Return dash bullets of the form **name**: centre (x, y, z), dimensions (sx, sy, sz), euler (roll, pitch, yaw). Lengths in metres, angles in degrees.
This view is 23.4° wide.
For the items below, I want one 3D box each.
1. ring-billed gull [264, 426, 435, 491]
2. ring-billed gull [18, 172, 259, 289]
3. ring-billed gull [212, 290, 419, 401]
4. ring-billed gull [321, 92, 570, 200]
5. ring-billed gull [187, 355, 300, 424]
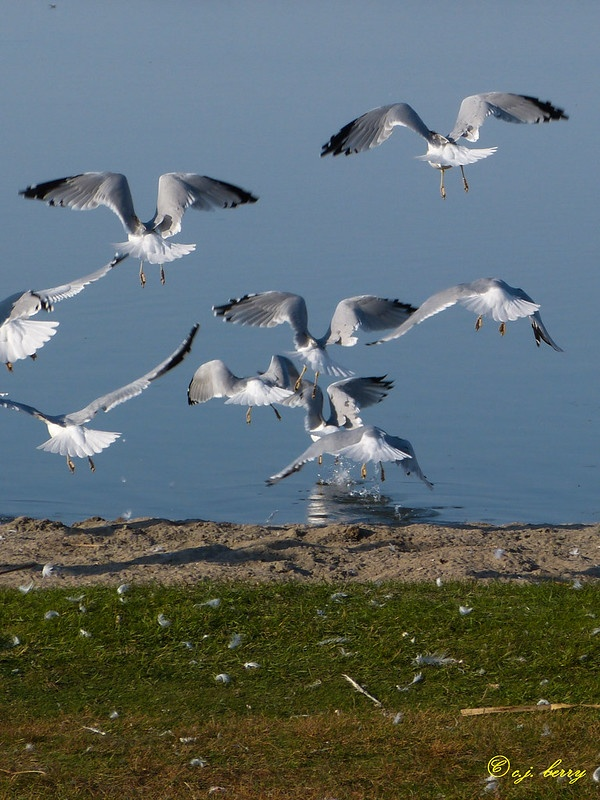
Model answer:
- **ring-billed gull**: centre (0.452, 0.451, 12.415), dimensions (1.126, 0.387, 0.876), euler (-1, 6, -3)
- **ring-billed gull**: centre (-1.554, -1.818, 15.382), dimensions (2.449, 1.107, 1.376), euler (-3, 9, -18)
- **ring-billed gull**: centre (0.197, -0.681, 16.079), dimensions (2.250, 0.891, 1.193), euler (2, 11, -11)
- **ring-billed gull**: centre (1.556, -2.596, 15.038), dimensions (2.530, 0.964, 1.422), euler (-8, 19, 14)
- **ring-billed gull**: centre (-0.623, -0.147, 15.971), dimensions (0.958, 0.474, 0.990), euler (1, -15, 13)
